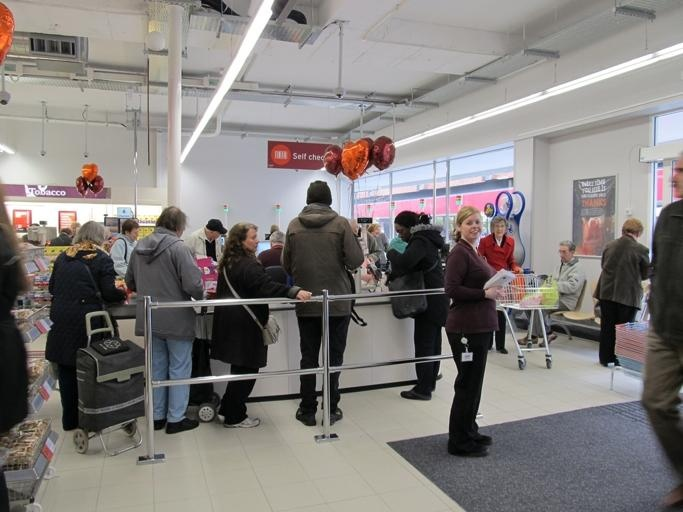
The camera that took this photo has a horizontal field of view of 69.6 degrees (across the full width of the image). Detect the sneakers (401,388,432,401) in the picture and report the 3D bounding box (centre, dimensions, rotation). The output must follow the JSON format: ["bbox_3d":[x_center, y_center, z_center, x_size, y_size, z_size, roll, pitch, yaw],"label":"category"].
[{"bbox_3d":[0.819,1.511,5.436,0.341,0.146,0.130,4,-6,19],"label":"sneakers"}]

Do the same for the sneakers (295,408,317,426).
[{"bbox_3d":[-0.344,1.582,4.804,0.221,0.115,0.184,0,6,3],"label":"sneakers"}]

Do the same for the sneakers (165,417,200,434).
[{"bbox_3d":[-1.483,1.596,4.633,0.278,0.197,0.113,-3,7,-36],"label":"sneakers"}]

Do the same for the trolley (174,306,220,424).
[{"bbox_3d":[-1.353,1.085,4.868,0.314,1.083,0.502,-3,6,-25],"label":"trolley"}]

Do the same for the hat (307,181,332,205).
[{"bbox_3d":[-0.214,-0.605,4.845,0.202,0.231,0.247,2,9,11],"label":"hat"}]

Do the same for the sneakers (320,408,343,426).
[{"bbox_3d":[-0.111,1.586,4.837,0.111,0.150,0.344,-2,-8,24],"label":"sneakers"}]

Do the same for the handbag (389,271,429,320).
[{"bbox_3d":[0.740,0.451,5.347,0.146,0.466,0.443,3,-11,-43],"label":"handbag"}]

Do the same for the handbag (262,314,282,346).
[{"bbox_3d":[-0.687,0.749,4.866,0.150,0.387,0.612,-1,6,-6],"label":"handbag"}]

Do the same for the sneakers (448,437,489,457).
[{"bbox_3d":[1.083,1.615,4.159,0.281,0.133,0.148,-4,0,-3],"label":"sneakers"}]

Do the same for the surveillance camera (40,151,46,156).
[{"bbox_3d":[-7.951,-2.692,13.133,0.119,0.153,0.123,-5,-3,-3],"label":"surveillance camera"}]

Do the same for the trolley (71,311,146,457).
[{"bbox_3d":[-1.978,1.108,4.242,0.418,1.160,0.532,3,6,30],"label":"trolley"}]

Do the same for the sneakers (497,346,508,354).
[{"bbox_3d":[2.351,1.399,7.186,0.134,0.138,0.071,-3,6,10],"label":"sneakers"}]

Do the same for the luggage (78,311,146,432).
[{"bbox_3d":[-1.984,0.994,4.235,0.390,0.947,0.532,3,6,30],"label":"luggage"}]

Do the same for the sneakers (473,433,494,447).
[{"bbox_3d":[1.248,1.619,4.303,0.218,0.094,0.083,2,0,23],"label":"sneakers"}]

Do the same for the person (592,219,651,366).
[{"bbox_3d":[3.713,0.513,6.506,0.567,1.935,0.455,-1,6,-4],"label":"person"}]
